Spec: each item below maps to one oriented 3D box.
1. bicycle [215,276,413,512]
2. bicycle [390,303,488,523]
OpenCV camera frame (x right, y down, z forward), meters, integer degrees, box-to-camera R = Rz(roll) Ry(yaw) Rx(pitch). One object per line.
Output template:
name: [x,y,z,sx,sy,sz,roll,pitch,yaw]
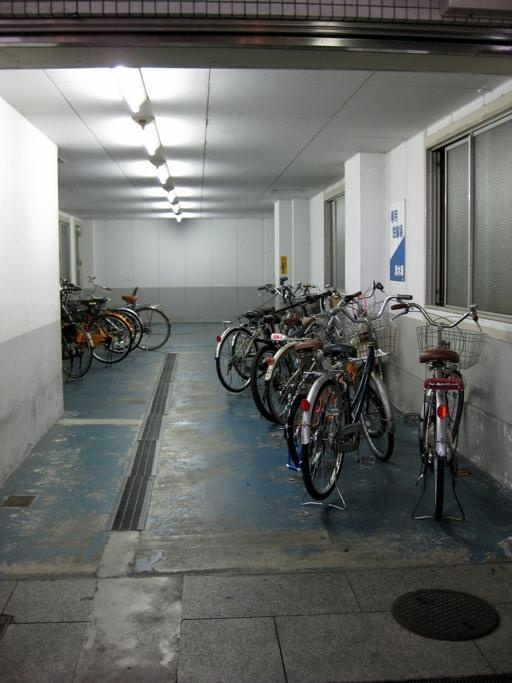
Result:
bicycle: [0.371,0.319,3.580,0.965,1.050,1.816,-1,10,29]
bicycle: [1.234,0.258,3.130,0.410,0.946,1.547,-5,9,22]
